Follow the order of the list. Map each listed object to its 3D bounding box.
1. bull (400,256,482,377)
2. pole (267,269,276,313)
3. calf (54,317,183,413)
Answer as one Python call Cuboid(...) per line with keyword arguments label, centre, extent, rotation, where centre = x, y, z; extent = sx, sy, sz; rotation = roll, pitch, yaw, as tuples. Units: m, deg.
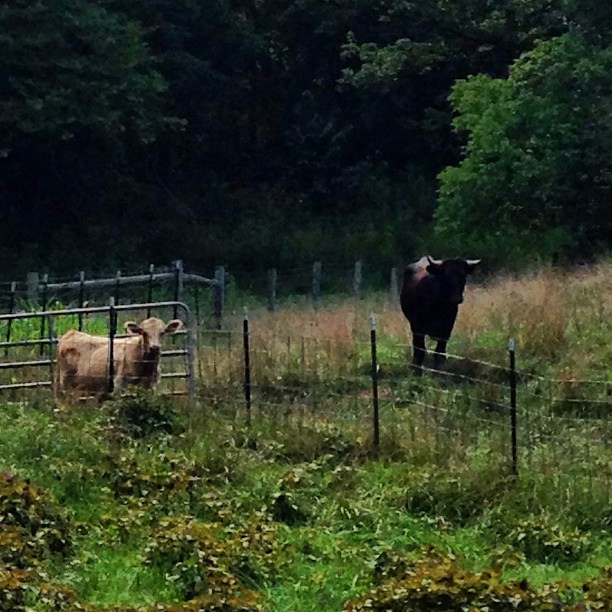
Cuboid(label="bull", centre=(2.426, 0.093, 24.276), extent=(0.946, 2.012, 3.116), rotation=(3, 2, -10))
Cuboid(label="pole", centre=(-0.864, -0.438, 32.010), extent=(0.276, 1.310, 0.283), rotation=(3, 26, 5))
Cuboid(label="calf", centre=(-3.009, 0.918, 19.406), extent=(2.443, 1.339, 0.953), rotation=(0, -1, 36))
